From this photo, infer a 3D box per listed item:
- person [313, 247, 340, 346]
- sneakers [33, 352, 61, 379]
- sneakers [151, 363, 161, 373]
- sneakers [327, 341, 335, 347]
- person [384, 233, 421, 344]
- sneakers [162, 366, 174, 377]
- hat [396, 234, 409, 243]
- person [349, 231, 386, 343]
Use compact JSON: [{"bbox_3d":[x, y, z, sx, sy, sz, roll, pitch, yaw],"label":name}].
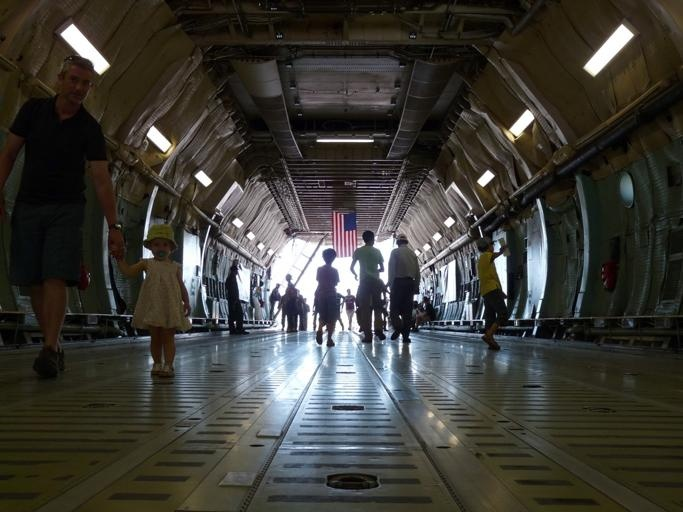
[{"bbox_3d":[-0.326,0.843,8.790,0.522,2.218,1.097,1,-8,-4],"label":"person"},{"bbox_3d":[-2.698,0.995,3.572,0.131,0.215,0.231,-1,-52,-6],"label":"sneakers"},{"bbox_3d":[-1.862,1.111,3.905,0.139,0.104,0.073,-3,-10,35],"label":"sneakers"},{"bbox_3d":[-0.229,1.850,8.319,0.120,0.128,0.124,1,-13,-2],"label":"sneakers"},{"bbox_3d":[1.453,0.748,9.129,0.704,2.475,1.049,-1,-8,8],"label":"person"},{"bbox_3d":[-1.695,1.111,3.788,0.061,0.070,0.156,1,-6,-3],"label":"sneakers"},{"bbox_3d":[1.427,-0.407,9.074,0.210,0.249,0.484,-2,-9,13],"label":"hat"},{"bbox_3d":[0.640,0.637,9.335,0.781,2.545,0.791,-1,-5,2],"label":"person"}]
